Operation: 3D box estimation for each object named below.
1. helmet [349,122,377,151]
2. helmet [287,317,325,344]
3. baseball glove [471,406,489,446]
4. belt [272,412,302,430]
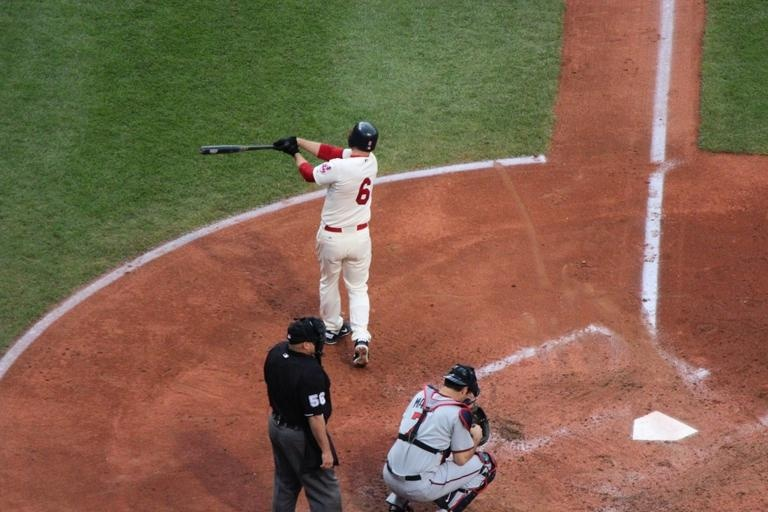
[{"bbox_3d":[-0.289,-1.710,14.079,0.356,0.414,0.446,-1,40,-18],"label":"helmet"},{"bbox_3d":[-1.000,0.915,12.304,0.440,0.257,0.303,-8,30,-15],"label":"helmet"},{"bbox_3d":[1.309,2.237,12.666,0.183,0.391,0.450,-11,73,33],"label":"baseball glove"},{"bbox_3d":[-1.227,2.152,12.334,0.235,0.273,0.102,12,82,64],"label":"belt"}]
